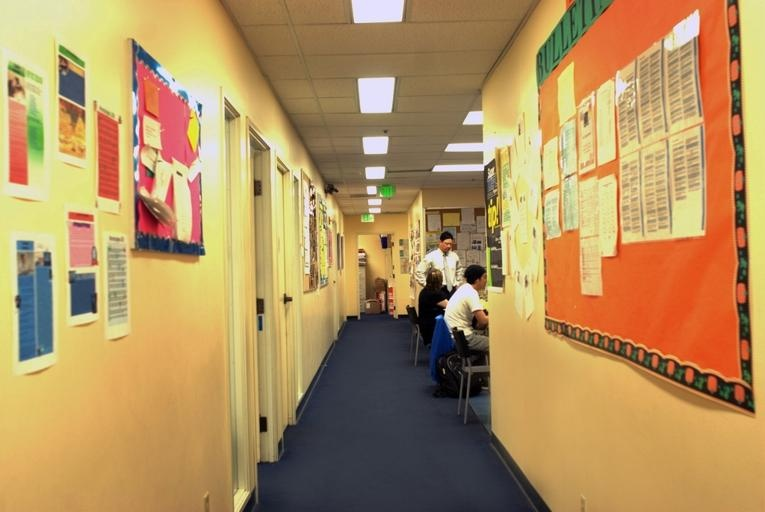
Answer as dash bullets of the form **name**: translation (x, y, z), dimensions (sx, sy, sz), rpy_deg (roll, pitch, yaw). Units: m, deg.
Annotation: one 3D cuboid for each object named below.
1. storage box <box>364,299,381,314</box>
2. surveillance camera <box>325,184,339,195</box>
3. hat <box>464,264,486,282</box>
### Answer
- **storage box**: translation (-0.301, 1.669, 17.063), dimensions (0.386, 0.446, 0.311), rpy_deg (1, -8, -3)
- **surveillance camera**: translation (-0.913, -1.153, 9.382), dimensions (0.204, 0.117, 0.292), rpy_deg (1, -3, -14)
- **hat**: translation (1.048, 0.193, 6.042), dimensions (0.161, 0.217, 0.208), rpy_deg (9, 17, 42)
